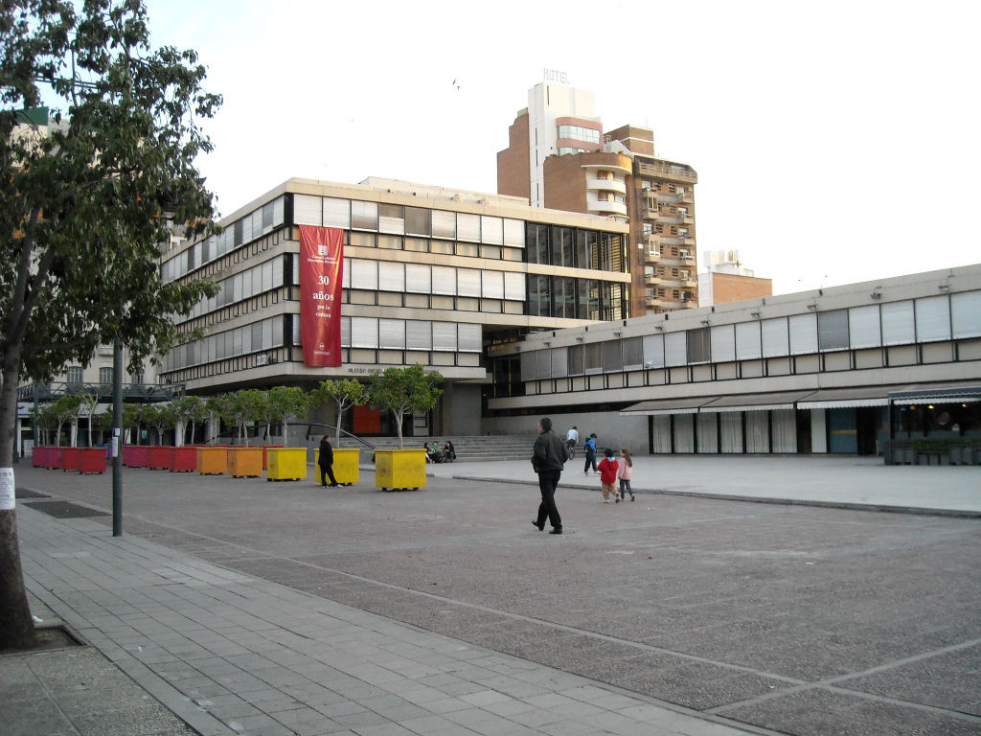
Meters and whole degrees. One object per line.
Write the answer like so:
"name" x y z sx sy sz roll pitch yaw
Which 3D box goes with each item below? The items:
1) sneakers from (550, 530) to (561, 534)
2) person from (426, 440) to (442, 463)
"sneakers" 1.162 2.947 15.873 0.225 0.080 0.349 0 -7 2
"person" -3.107 4.771 48.784 0.826 0.943 2.252 0 -6 -1
